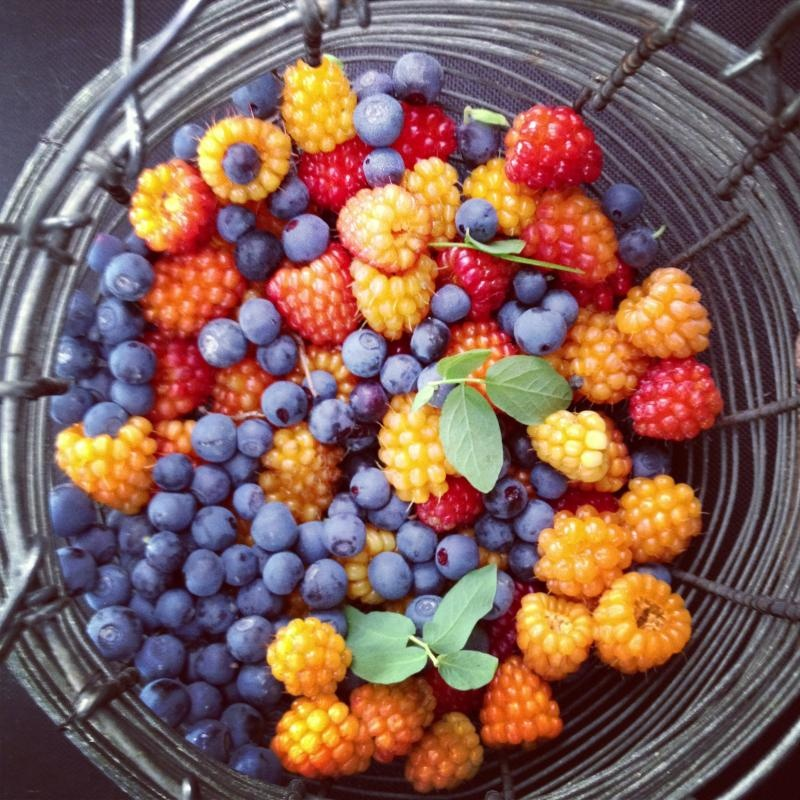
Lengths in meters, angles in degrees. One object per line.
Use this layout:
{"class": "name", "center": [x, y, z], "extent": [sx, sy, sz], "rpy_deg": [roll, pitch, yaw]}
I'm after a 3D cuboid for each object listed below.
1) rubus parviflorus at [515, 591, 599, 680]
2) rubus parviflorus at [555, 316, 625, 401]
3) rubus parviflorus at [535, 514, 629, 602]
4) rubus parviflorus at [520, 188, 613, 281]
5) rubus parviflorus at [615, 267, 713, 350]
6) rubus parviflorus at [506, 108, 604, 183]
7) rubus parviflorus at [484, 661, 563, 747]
{"class": "rubus parviflorus", "center": [0.198, 0.303, 1.420], "extent": [0.129, 0.097, 0.103], "rpy_deg": [-21, 93, 4]}
{"class": "rubus parviflorus", "center": [0.266, -0.058, 1.475], "extent": [0.118, 0.073, 0.107], "rpy_deg": [-6, 92, 8]}
{"class": "rubus parviflorus", "center": [0.240, 0.204, 1.423], "extent": [0.139, 0.069, 0.106], "rpy_deg": [-7, 100, 1]}
{"class": "rubus parviflorus", "center": [0.201, -0.209, 1.449], "extent": [0.128, 0.141, 0.062], "rpy_deg": [-13, 82, 3]}
{"class": "rubus parviflorus", "center": [0.345, -0.119, 1.401], "extent": [0.112, 0.088, 0.090], "rpy_deg": [34, 84, -26]}
{"class": "rubus parviflorus", "center": [0.197, -0.338, 1.382], "extent": [0.153, 0.112, 0.063], "rpy_deg": [-23, 114, -28]}
{"class": "rubus parviflorus", "center": [0.160, 0.395, 1.374], "extent": [0.126, 0.069, 0.102], "rpy_deg": [-3, 78, 7]}
